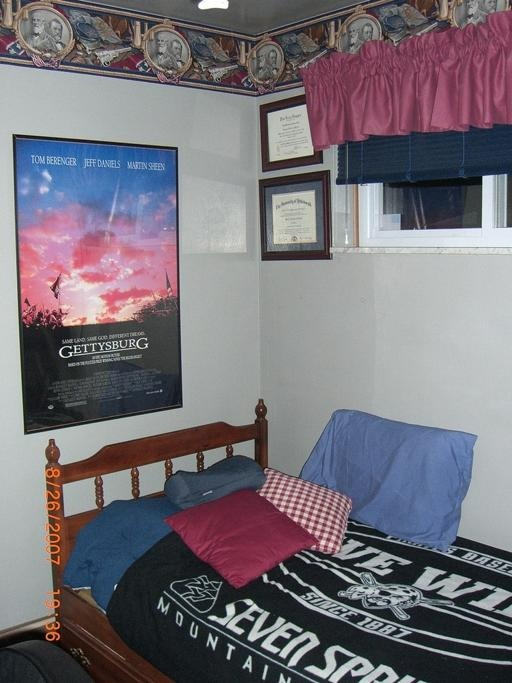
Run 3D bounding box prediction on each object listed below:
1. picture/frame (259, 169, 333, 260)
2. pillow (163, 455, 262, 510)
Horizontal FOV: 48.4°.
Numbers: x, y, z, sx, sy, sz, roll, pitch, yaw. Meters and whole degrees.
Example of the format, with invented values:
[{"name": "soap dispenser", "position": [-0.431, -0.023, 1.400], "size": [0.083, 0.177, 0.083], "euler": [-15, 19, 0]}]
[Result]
[{"name": "picture/frame", "position": [0.206, -0.668, 3.056], "size": [0.471, 0.452, 0.034], "euler": [7, 14, 39]}, {"name": "pillow", "position": [-0.181, 0.593, 2.448], "size": [0.313, 0.107, 0.183], "euler": [-7, 6, -32]}]
